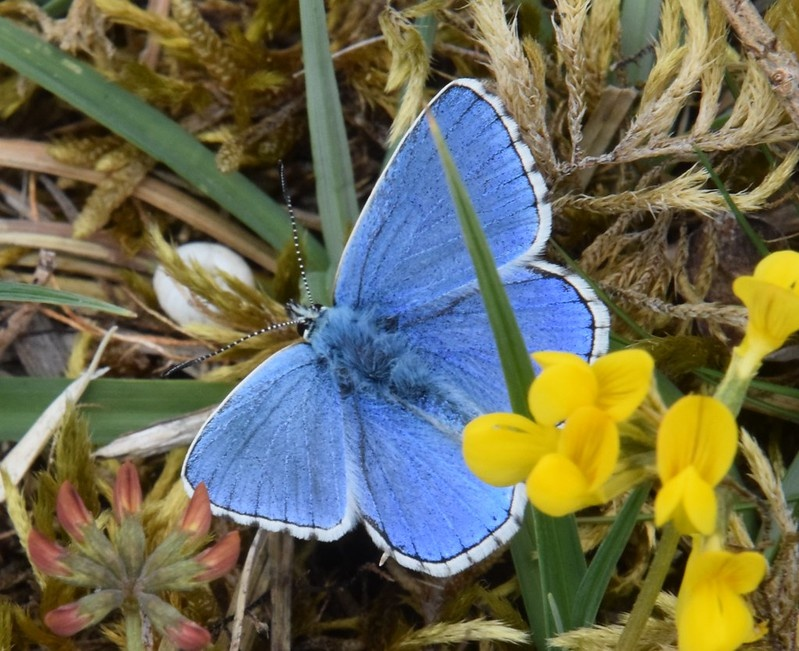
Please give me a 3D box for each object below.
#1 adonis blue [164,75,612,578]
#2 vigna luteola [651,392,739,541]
[{"bbox_3d":[0.005,0.191,2.178,0.792,1.328,0.269,33,19,-15],"label":"adonis blue"},{"bbox_3d":[0.463,0.215,1.452,0.119,0.209,0.074,7,-11,4],"label":"vigna luteola"}]
